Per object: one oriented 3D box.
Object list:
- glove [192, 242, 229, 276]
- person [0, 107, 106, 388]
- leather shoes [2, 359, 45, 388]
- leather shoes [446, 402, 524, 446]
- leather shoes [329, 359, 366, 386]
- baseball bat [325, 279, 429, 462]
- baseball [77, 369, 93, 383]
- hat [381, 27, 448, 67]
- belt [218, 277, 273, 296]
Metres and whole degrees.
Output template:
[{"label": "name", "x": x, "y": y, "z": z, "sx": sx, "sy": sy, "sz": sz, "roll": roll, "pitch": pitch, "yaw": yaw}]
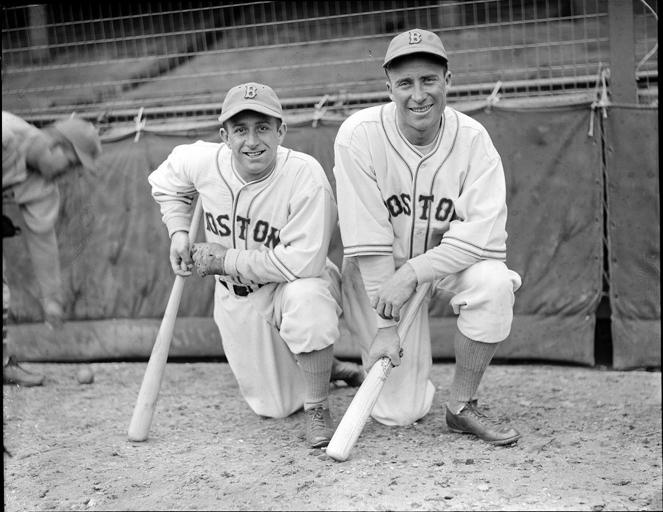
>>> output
[{"label": "glove", "x": -0.624, "y": 0.022, "z": 5.396, "sx": 0.232, "sy": 0.170, "sz": 0.105, "roll": 3, "pitch": 13, "yaw": 25}, {"label": "person", "x": -1.624, "y": -0.050, "z": 6.216, "sx": 0.652, "sy": 1.521, "sz": 0.396, "roll": -6, "pitch": 12, "yaw": -15}, {"label": "leather shoes", "x": -1.792, "y": 0.696, "z": 6.154, "sx": 0.269, "sy": 0.204, "sz": 0.099, "roll": 5, "pitch": -1, "yaw": -10}, {"label": "leather shoes", "x": 0.770, "y": 0.814, "z": 5.361, "sx": 0.383, "sy": 0.186, "sz": 0.158, "roll": 7, "pitch": 19, "yaw": 29}, {"label": "leather shoes", "x": 0.100, "y": 0.652, "z": 5.906, "sx": 0.117, "sy": 0.077, "sz": 0.190, "roll": 14, "pitch": 2, "yaw": 34}, {"label": "baseball bat", "x": 0.256, "y": 0.580, "z": 5.360, "sx": 0.123, "sy": 0.966, "sz": 0.111, "roll": 21, "pitch": -26, "yaw": 17}, {"label": "baseball", "x": -1.443, "y": 0.708, "z": 6.239, "sx": 0.072, "sy": 0.077, "sz": 0.078, "roll": -3, "pitch": -5, "yaw": 13}, {"label": "hat", "x": 0.416, "y": -1.014, "z": 5.173, "sx": 0.302, "sy": 0.183, "sz": 0.152, "roll": -2, "pitch": 12, "yaw": 3}, {"label": "belt", "x": -0.467, "y": 0.168, "z": 5.508, "sx": 0.153, "sy": 0.067, "sz": 0.127, "roll": 18, "pitch": -3, "yaw": -26}]
